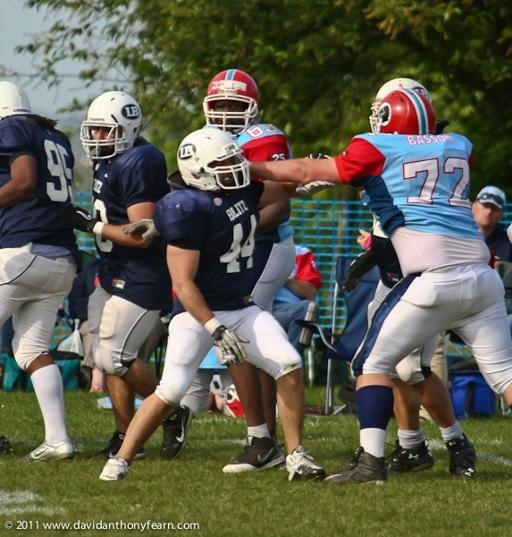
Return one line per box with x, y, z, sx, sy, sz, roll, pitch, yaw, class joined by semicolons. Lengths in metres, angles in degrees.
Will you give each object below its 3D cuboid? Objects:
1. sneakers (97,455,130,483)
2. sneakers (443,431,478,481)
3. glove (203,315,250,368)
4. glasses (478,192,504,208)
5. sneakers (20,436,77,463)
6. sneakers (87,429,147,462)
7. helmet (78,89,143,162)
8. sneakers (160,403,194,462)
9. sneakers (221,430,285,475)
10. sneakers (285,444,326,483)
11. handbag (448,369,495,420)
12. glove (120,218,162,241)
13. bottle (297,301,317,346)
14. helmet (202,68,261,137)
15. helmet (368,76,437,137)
-0.719;1.031;6.323;0.090;0.063;0.164;18;9;8;sneakers
1.106;1.002;6.574;0.094;0.111;0.251;-29;21;19;sneakers
-0.123;0.358;6.206;0.196;0.241;0.096;-24;3;28;glove
1.694;-0.495;8.872;0.110;0.049;0.146;20;5;0;glasses
-1.151;1.013;6.810;0.288;0.106;0.095;0;-8;-4;sneakers
-0.800;1.001;6.961;0.355;0.185;0.115;2;-3;-11;sneakers
-0.854;-0.797;6.902;0.323;0.328;0.423;3;20;41;helmet
-0.451;0.932;7.006;0.119;0.318;0.148;4;-18;41;sneakers
-0.061;1.005;6.624;0.405;0.201;0.140;-3;0;-36;sneakers
0.241;1.022;6.376;0.108;0.129;0.286;-1;-7;-35;sneakers
1.534;0.899;8.768;0.372;0.299;0.341;-1;-1;-16;handbag
-0.583;-0.202;6.550;0.112;0.052;0.188;-16;-16;9;glove
0.338;0.353;8.161;0.106;0.091;0.396;-26;23;29;bottle
-0.137;-0.952;7.042;0.319;0.301;0.392;1;11;7;helmet
0.788;-0.886;6.554;0.357;0.344;0.446;-2;15;-8;helmet
